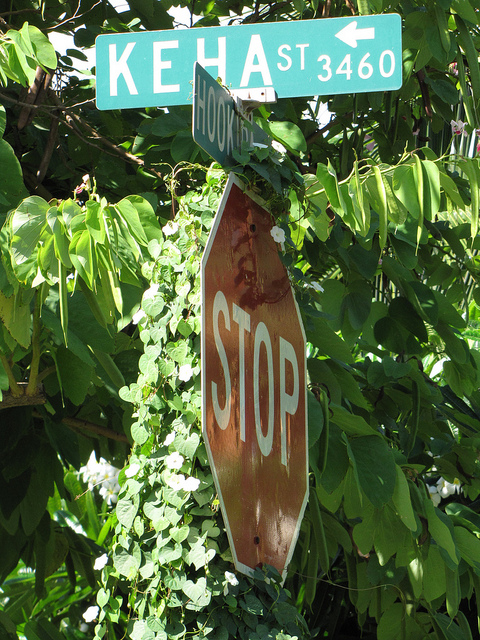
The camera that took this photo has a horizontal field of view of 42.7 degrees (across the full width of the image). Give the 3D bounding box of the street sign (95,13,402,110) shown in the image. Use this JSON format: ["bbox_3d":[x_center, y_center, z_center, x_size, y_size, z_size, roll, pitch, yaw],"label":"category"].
[{"bbox_3d":[0.002,-0.519,1.241,0.637,0.183,0.141,4,38,7],"label":"street sign"}]
